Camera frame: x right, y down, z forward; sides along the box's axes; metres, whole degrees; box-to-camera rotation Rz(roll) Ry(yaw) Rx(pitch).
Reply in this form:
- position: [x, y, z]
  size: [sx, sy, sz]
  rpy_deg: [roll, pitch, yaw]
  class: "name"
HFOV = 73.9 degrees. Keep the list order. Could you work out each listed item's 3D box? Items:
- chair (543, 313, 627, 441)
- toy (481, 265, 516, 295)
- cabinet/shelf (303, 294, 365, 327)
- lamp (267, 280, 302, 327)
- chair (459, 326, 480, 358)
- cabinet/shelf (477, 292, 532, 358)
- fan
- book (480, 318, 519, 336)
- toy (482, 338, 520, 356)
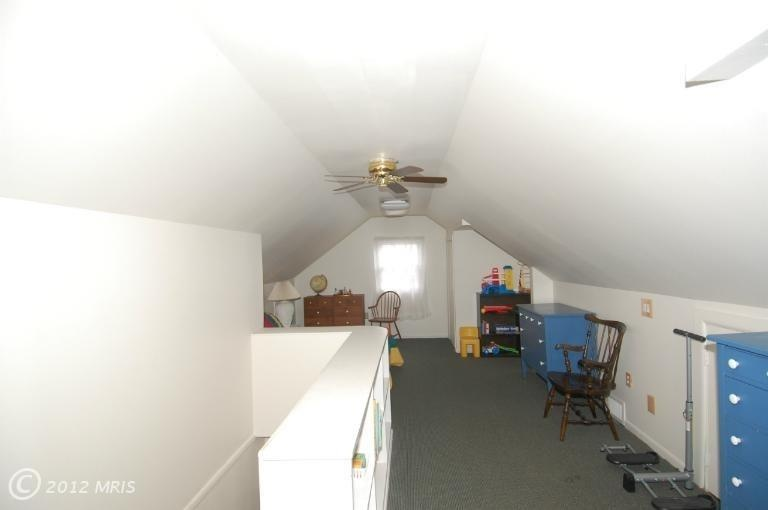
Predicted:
- position: [2.013, 1.145, 5.129]
  size: [0.741, 1.089, 1.171]
  rpy_deg: [0, 7, 25]
  class: "chair"
- position: [1.802, 0.396, 8.011]
  size: [0.522, 0.481, 0.350]
  rpy_deg: [1, -5, 18]
  class: "toy"
- position: [-0.848, 0.913, 8.454]
  size: [0.977, 0.516, 0.371]
  rpy_deg: [-2, 7, 13]
  class: "cabinet/shelf"
- position: [-1.473, 0.699, 7.551]
  size: [0.642, 0.813, 0.634]
  rpy_deg: [-2, -3, -10]
  class: "lamp"
- position: [1.297, 1.297, 7.732]
  size: [0.363, 0.494, 0.372]
  rpy_deg: [0, -11, 5]
  class: "chair"
- position: [1.770, 1.034, 7.422]
  size: [0.912, 0.902, 0.305]
  rpy_deg: [-1, -6, 2]
  class: "cabinet/shelf"
- position: [-0.066, -0.766, 5.001]
  size: [0.993, 0.346, 1.829]
  rpy_deg: [-4, 6, -6]
  class: "fan"
- position: [1.715, 1.098, 7.699]
  size: [0.628, 0.255, 0.198]
  rpy_deg: [-1, 1, 9]
  class: "book"
- position: [1.743, 1.400, 7.659]
  size: [0.412, 0.181, 0.254]
  rpy_deg: [-7, -13, 10]
  class: "toy"
